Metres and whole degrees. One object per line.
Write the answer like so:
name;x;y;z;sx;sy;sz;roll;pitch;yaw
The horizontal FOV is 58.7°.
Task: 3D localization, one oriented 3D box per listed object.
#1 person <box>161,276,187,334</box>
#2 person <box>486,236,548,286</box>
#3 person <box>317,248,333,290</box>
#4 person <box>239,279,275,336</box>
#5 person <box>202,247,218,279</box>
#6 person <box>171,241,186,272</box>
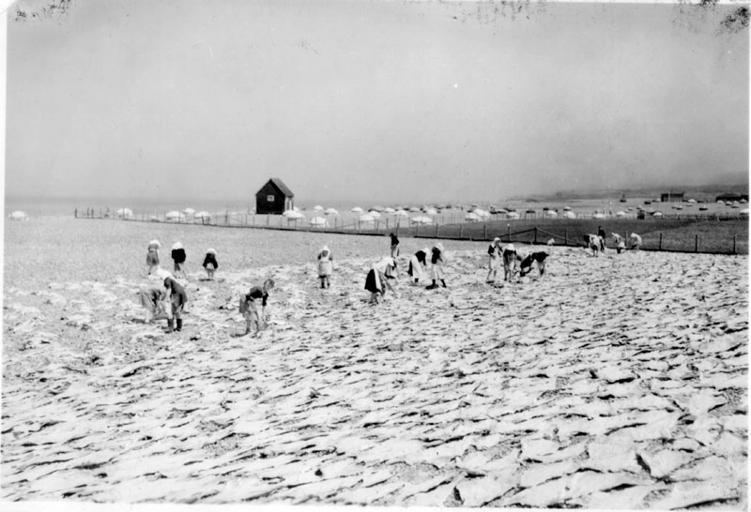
person;-4.245;0.917;14.062;0.421;1.175;0.943;-7;14;-18
person;3.939;-0.010;18.267;0.883;1.558;2.597;2;10;31
person;-1.334;0.260;17.222;0.360;1.127;0.912;-4;13;-5
person;-2.513;0.952;13.839;0.635;1.265;0.448;20;22;13
person;-4.357;0.150;17.468;0.327;0.914;1.212;-6;14;-14
person;-5.064;-0.001;17.080;0.299;0.806;0.706;-7;14;-19
